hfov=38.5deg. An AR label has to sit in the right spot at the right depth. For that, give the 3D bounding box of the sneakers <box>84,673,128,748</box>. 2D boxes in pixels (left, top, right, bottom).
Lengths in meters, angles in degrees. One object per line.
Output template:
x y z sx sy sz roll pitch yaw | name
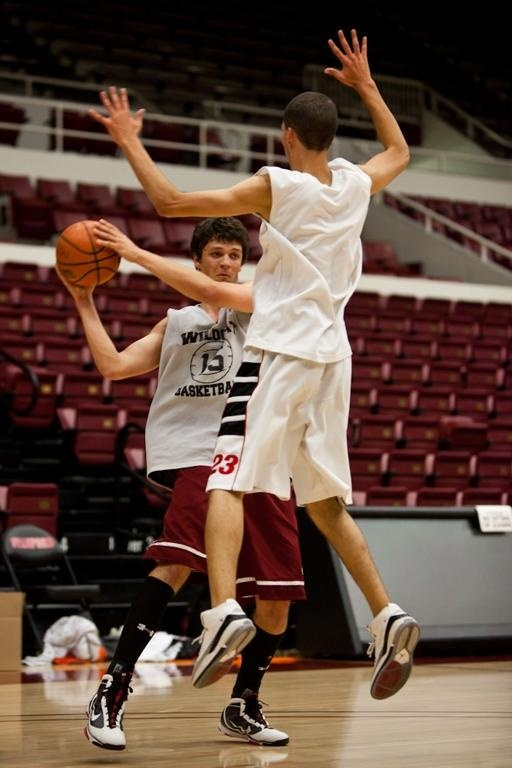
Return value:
-0.323 0.686 1.570 0.078 0.120 0.187 12 13 -18 | sneakers

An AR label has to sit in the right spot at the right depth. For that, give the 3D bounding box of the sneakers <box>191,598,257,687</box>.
-0.064 0.528 1.448 0.107 0.205 0.103 7 12 -2 | sneakers

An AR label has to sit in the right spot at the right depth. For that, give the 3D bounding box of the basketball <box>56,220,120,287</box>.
-0.449 -0.351 2.038 0.191 0.194 0.180 6 11 -1 | basketball

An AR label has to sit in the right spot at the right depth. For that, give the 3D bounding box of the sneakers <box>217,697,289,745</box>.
-0.005 0.840 1.833 0.197 0.099 0.064 -8 -14 42 | sneakers

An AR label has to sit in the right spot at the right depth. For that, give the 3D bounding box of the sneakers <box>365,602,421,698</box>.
0.293 0.599 1.603 0.096 0.220 0.099 8 12 1 | sneakers
